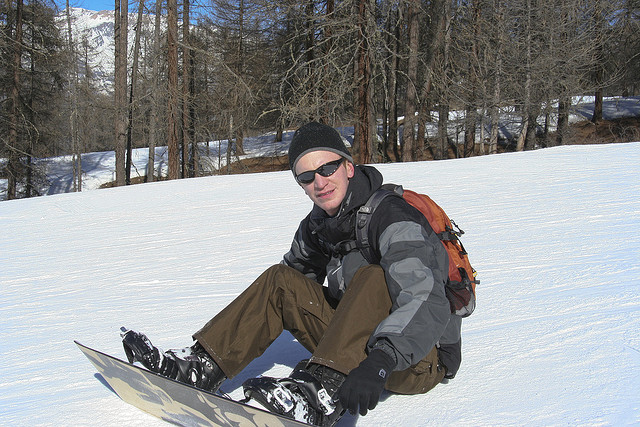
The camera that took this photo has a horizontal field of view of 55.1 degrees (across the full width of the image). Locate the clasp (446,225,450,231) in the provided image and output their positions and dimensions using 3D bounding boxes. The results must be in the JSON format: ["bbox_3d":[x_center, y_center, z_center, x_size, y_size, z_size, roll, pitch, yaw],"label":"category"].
[{"bbox_3d":[1.369,0.158,6.655,0.009,0.040,0.037,-3,49,-10],"label":"clasp"}]

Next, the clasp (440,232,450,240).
[{"bbox_3d":[1.335,0.249,6.601,0.072,0.091,0.033,-4,5,-21],"label":"clasp"}]

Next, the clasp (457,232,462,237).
[{"bbox_3d":[1.542,0.232,6.896,0.061,0.024,0.062,6,-32,51],"label":"clasp"}]
